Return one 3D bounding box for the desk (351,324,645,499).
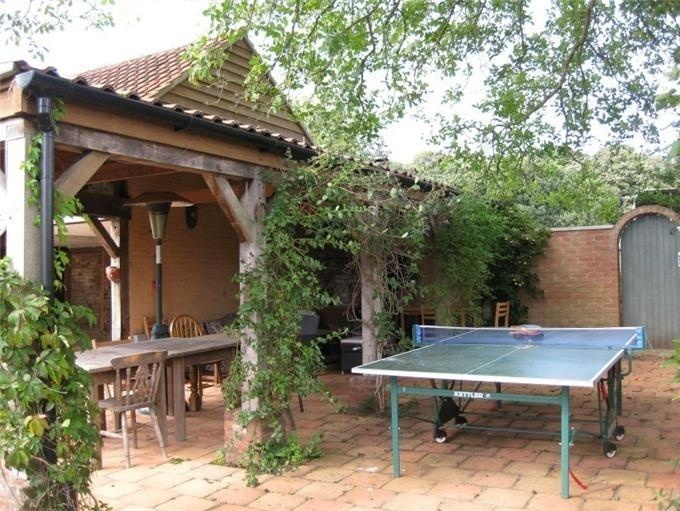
[{"bbox_3d":[1.962,1.474,6.415,2.469,1.294,3.075,0,2,27],"label":"desk"}]
